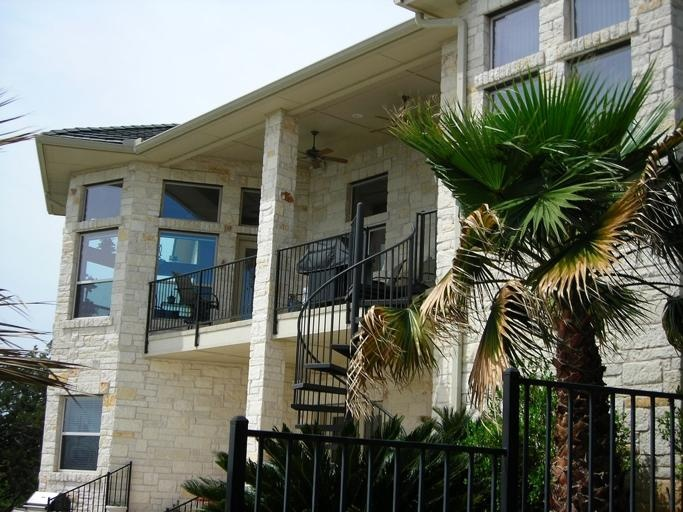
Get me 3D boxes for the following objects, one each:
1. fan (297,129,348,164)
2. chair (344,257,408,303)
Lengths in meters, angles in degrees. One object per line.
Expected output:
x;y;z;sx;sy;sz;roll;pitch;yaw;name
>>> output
-0.314;-1.697;13.956;0.666;0.274;0.630;-14;-17;41;fan
0.555;0.282;11.360;0.833;0.771;1.322;2;0;8;chair
